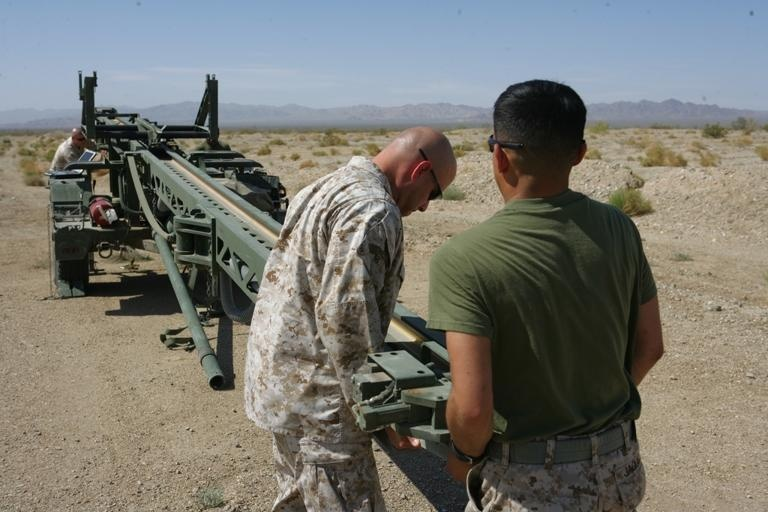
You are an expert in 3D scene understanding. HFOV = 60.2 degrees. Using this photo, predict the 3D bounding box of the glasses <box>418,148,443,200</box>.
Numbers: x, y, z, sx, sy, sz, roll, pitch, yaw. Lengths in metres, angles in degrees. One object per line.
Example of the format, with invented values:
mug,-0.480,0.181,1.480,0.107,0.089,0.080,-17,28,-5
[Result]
glasses,0.318,-0.486,3.955,0.068,0.241,0.235,-18,4,1

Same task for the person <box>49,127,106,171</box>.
person,-5.279,-1.798,11.034,0.825,0.671,0.454,7,14,33
